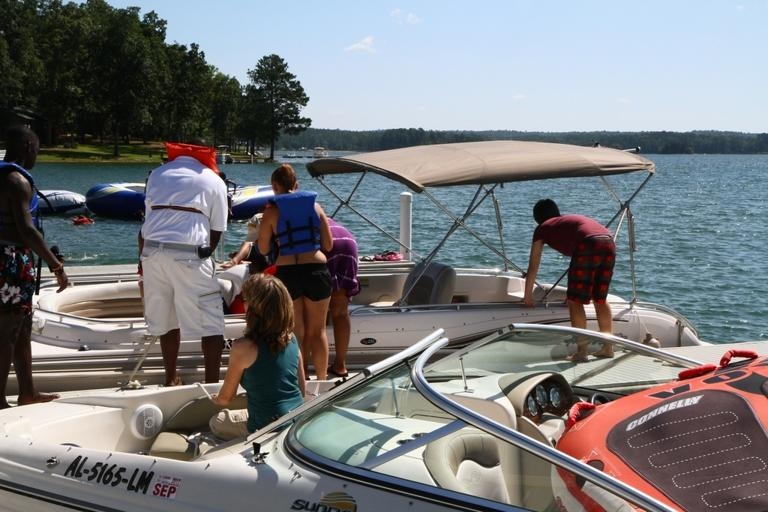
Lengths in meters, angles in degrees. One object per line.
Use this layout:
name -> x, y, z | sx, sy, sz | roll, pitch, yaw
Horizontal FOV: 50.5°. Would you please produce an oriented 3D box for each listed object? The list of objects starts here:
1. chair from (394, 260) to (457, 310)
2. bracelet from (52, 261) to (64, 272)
chair -> 0.528, 0.300, 8.638 | 0.550, 0.556, 0.483 | -4, 10, -36
bracelet -> -2.657, 0.108, 6.620 | 0.088, 0.041, 0.099 | -18, -19, -41
